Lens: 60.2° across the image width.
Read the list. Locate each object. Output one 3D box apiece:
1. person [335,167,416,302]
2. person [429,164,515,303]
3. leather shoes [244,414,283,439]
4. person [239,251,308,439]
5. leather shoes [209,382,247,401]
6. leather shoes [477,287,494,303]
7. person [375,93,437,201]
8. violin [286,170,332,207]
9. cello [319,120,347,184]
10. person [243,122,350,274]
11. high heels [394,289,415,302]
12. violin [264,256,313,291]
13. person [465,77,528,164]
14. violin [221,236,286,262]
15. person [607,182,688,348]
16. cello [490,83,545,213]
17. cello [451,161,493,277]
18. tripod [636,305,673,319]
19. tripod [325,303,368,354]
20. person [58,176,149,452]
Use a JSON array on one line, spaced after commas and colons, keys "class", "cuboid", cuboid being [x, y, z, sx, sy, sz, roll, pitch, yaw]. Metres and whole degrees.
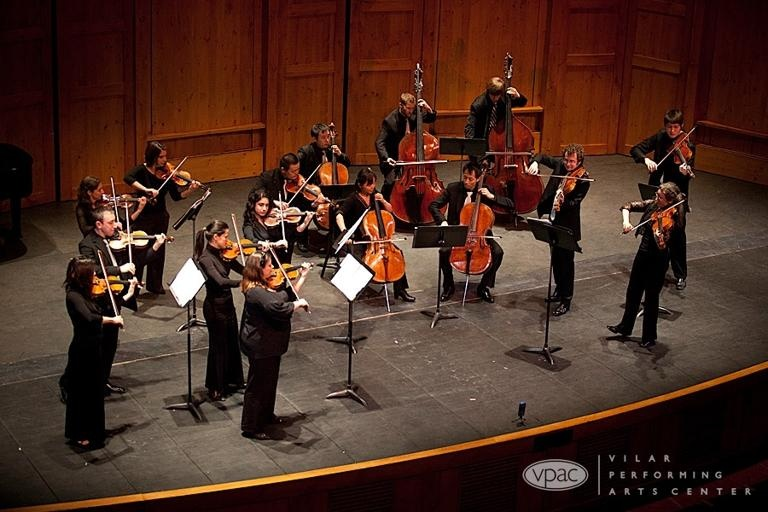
[{"class": "person", "cuboid": [-0.152, -0.208, 7.970, 0.922, 1.676, 0.596, -11, -4, -32]}, {"class": "person", "cuboid": [1.074, -0.325, 8.343, 1.044, 1.690, 0.621, 3, 2, 10]}, {"class": "leather shoes", "cuboid": [-1.026, 1.548, 5.919, 0.125, 0.156, 0.402, 24, 28, 37]}, {"class": "person", "cuboid": [-1.033, 0.784, 5.866, 0.567, 1.570, 0.459, -7, 17, -31]}, {"class": "leather shoes", "cuboid": [-1.428, 1.303, 6.346, 0.430, 0.122, 0.176, -7, -15, -7]}, {"class": "leather shoes", "cuboid": [1.239, 0.453, 8.155, 0.113, 0.112, 0.281, -18, 36, -29]}, {"class": "person", "cuboid": [0.195, -1.548, 9.805, 0.915, 1.628, 0.521, 13, -6, -22]}, {"class": "violin", "cuboid": [-0.981, -0.831, 8.243, 0.715, 0.278, 0.139, 33, -14, -3]}, {"class": "cello", "cuboid": [-0.684, -1.378, 8.995, 0.396, 0.847, 0.156, -2, -5, -22]}, {"class": "person", "cuboid": [-1.055, -0.789, 8.335, 0.451, 0.865, 2.211, -1, 34, 29]}, {"class": "high heels", "cuboid": [0.304, 0.484, 8.118, 0.316, 0.120, 0.111, 13, 19, 16]}, {"class": "violin", "cuboid": [-0.932, 0.178, 6.364, 0.523, 0.201, 0.098, -14, -17, -48]}, {"class": "person", "cuboid": [1.593, -2.128, 9.891, 0.834, 1.376, 0.480, 11, 12, -3]}, {"class": "violin", "cuboid": [-1.333, -0.095, 6.765, 0.573, 0.219, 0.105, -4, -27, -24]}, {"class": "person", "cuboid": [2.841, 0.088, 7.233, 0.521, 1.780, 0.452, 11, 17, 33]}, {"class": "cello", "cuboid": [1.949, -1.558, 9.812, 0.845, 1.827, 0.623, -2, 5, 8]}, {"class": "cello", "cuboid": [1.111, -0.303, 7.974, 0.483, 1.073, 0.389, 7, -2, 10]}, {"class": "tripod", "cuboid": [3.050, 0.642, 7.489, 0.223, 0.047, 0.179, -3, 14, -18]}, {"class": "tripod", "cuboid": [-0.408, 0.829, 7.361, 0.403, 0.474, 0.404, -26, 42, -33]}, {"class": "person", "cuboid": [-2.648, 0.549, 6.106, 0.701, 1.856, 1.533, -4, 15, -21]}]
